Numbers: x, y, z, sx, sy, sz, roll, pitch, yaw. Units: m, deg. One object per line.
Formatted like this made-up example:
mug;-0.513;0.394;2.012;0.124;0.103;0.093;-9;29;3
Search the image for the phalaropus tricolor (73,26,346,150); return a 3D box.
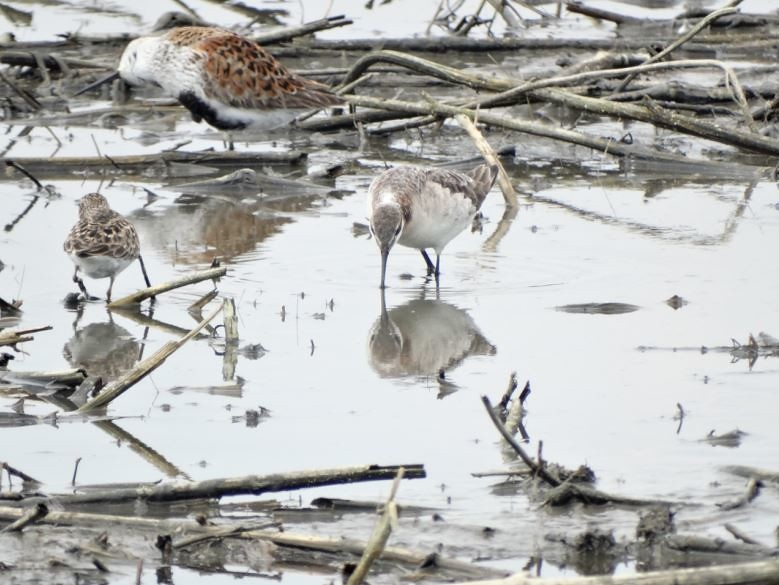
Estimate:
phalaropus tricolor;-2.049;-2.823;13.503;2.512;1.284;0.700;3;-28;-4
